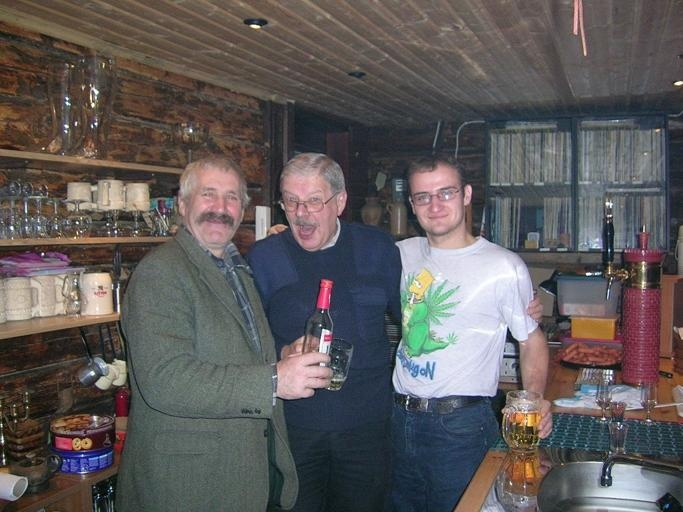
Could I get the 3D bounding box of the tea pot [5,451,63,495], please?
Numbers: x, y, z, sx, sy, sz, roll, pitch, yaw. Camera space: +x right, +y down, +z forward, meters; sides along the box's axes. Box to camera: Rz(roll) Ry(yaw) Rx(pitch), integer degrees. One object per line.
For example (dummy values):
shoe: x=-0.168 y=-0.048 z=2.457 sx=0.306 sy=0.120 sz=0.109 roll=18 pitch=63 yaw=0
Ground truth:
tea pot: x=-1.426 y=0.965 z=2.716 sx=0.160 sy=0.188 sz=0.256 roll=3 pitch=1 yaw=41

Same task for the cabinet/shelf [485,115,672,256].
cabinet/shelf: x=2.098 y=-0.651 z=4.988 sx=1.410 sy=1.025 sz=0.465 roll=1 pitch=0 yaw=13

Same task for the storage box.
storage box: x=1.660 y=0.332 z=3.901 sx=0.411 sy=0.385 sz=0.422 roll=-1 pitch=4 yaw=21

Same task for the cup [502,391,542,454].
cup: x=0.607 y=0.551 z=1.956 sx=0.126 sy=0.187 sz=0.187 roll=-1 pitch=4 yaw=17

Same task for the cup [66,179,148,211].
cup: x=-1.215 y=-0.307 z=3.014 sx=0.287 sy=0.098 sz=0.212 roll=1 pitch=4 yaw=6
